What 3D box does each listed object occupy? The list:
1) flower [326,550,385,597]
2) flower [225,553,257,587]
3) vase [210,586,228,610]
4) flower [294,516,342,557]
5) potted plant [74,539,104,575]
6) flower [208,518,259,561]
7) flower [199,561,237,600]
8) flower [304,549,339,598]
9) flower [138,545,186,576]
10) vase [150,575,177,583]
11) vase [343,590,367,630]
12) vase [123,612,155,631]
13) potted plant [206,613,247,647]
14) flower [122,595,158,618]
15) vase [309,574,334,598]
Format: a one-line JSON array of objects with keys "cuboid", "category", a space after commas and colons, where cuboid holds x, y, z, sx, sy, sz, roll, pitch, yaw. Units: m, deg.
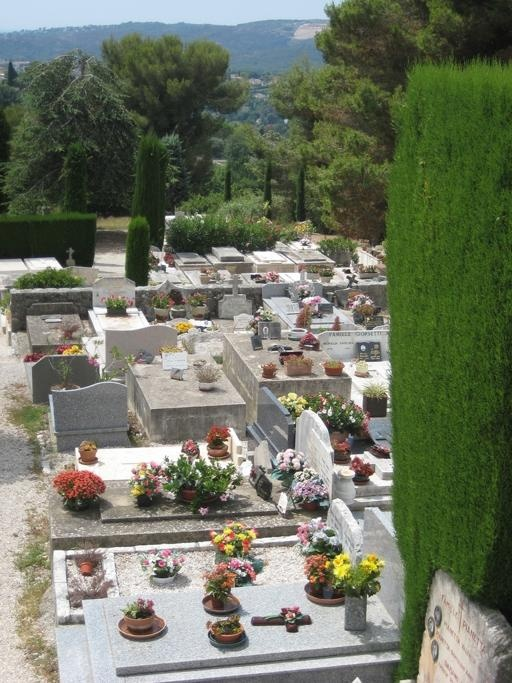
[{"cuboid": [0.884, 2.095, 8.144, 0.485, 0.351, 0.456, -1, 2, -19], "category": "flower"}, {"cuboid": [-0.148, 2.314, 9.115, 0.297, 0.255, 0.298, 1, 7, -20], "category": "flower"}, {"cuboid": [-0.347, 2.348, 8.239, 0.168, 0.171, 0.171, 5, -1, -12], "category": "vase"}, {"cuboid": [0.634, 2.030, 9.272, 0.370, 0.260, 0.377, 2, 4, 13], "category": "flower"}, {"cuboid": [-1.709, 2.257, 9.413, 0.242, 0.199, 0.287, -1, 6, -10], "category": "potted plant"}, {"cuboid": [-0.227, 2.103, 9.334, 0.468, 0.485, 0.475, -4, 4, -38], "category": "flower"}, {"cuboid": [-0.305, 2.194, 8.309, 0.310, 0.319, 0.311, 2, -9, 32], "category": "flower"}, {"cuboid": [0.605, 2.216, 8.579, 0.378, 0.420, 0.307, 0, -7, -7], "category": "flower"}, {"cuboid": [-0.991, 2.307, 9.366, 0.318, 0.180, 0.313, -2, 5, -41], "category": "flower"}, {"cuboid": [-0.938, 2.459, 9.315, 0.250, 0.085, 0.130, -4, 11, -11], "category": "vase"}, {"cuboid": [0.874, 2.396, 8.052, 0.192, 0.359, 0.219, 0, 11, 5], "category": "vase"}, {"cuboid": [-0.990, 2.442, 7.845, 0.262, 0.147, 0.220, -4, 11, -12], "category": "vase"}, {"cuboid": [-0.243, 2.491, 7.755, 0.334, 0.179, 0.292, -2, 11, -5], "category": "potted plant"}, {"cuboid": [-1.014, 2.363, 7.994, 0.202, 0.087, 0.205, 3, -2, 4], "category": "flower"}, {"cuboid": [0.622, 2.326, 8.532, 0.191, 0.103, 0.193, 1, -2, 23], "category": "vase"}]
